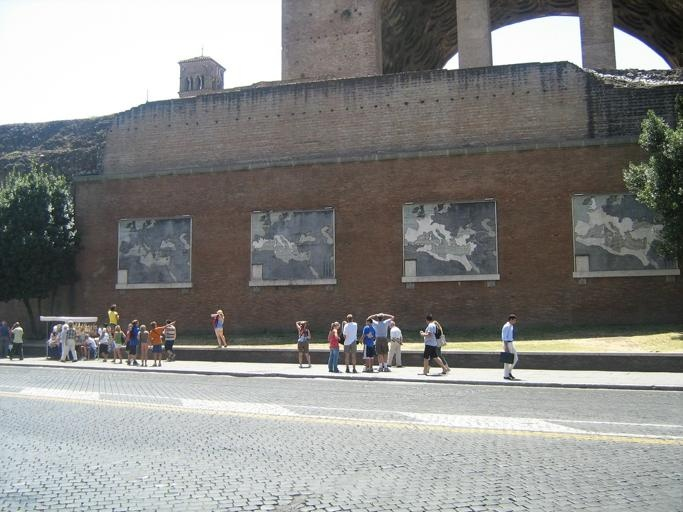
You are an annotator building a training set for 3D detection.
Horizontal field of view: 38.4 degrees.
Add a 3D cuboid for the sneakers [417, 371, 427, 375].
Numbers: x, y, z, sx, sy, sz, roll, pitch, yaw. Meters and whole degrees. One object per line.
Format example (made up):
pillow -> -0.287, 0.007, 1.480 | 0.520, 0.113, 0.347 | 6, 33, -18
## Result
sneakers -> 3.053, 4.397, 36.963 | 0.374, 0.150, 0.121 | 5, -9, 13
